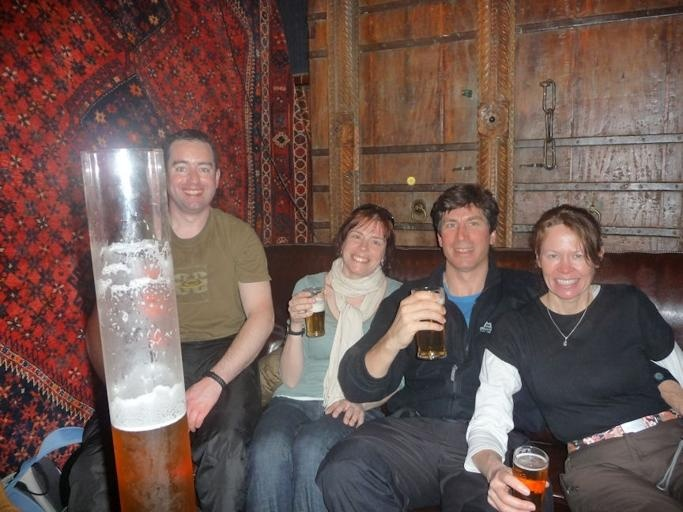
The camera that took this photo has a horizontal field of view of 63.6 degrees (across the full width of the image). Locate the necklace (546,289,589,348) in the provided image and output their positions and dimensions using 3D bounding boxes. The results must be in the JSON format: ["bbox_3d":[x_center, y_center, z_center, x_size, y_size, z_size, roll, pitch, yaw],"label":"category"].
[{"bbox_3d":[1.099,0.321,2.688,0.185,0.186,0.073,2,-9,10],"label":"necklace"}]

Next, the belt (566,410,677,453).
[{"bbox_3d":[1.351,0.810,2.564,0.427,0.162,0.072,-2,7,3],"label":"belt"}]
